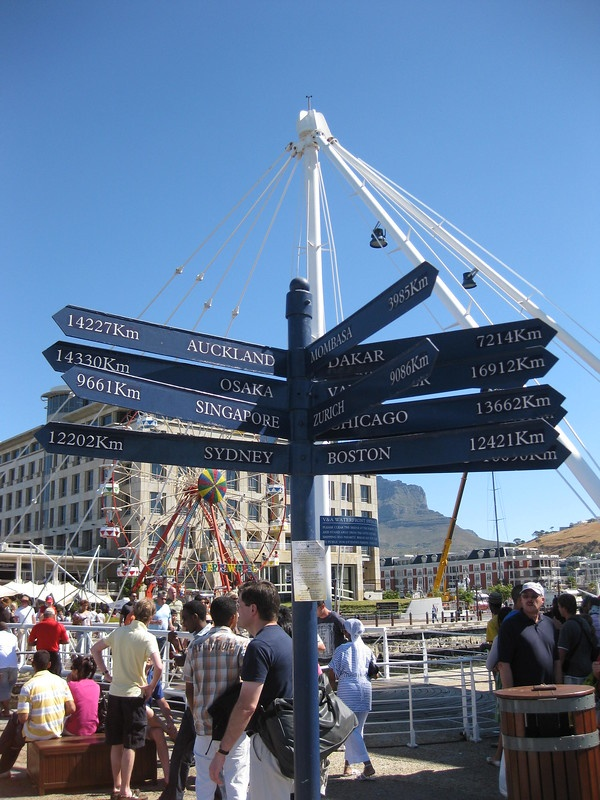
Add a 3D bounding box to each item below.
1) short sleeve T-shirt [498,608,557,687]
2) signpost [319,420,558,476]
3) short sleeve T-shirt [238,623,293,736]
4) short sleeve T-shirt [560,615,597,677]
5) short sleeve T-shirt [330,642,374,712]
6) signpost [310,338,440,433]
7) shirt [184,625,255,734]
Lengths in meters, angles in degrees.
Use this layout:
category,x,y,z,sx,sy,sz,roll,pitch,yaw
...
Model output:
category,x,y,z,sx,sy,sz,roll,pitch,yaw
short sleeve T-shirt,1.812,1.995,5.589,0.435,0.571,0.398,-3,-15,14
signpost,0.684,0.278,3.733,1.429,0.267,0.220,-8,-6,40
short sleeve T-shirt,-0.179,1.510,3.707,0.290,0.553,0.278,4,-15,-12
short sleeve T-shirt,2.648,2.389,6.640,0.436,0.450,0.198,12,-15,-23
short sleeve T-shirt,0.551,3.058,7.560,0.659,0.734,0.352,15,-28,-29
signpost,0.414,-0.062,3.657,0.587,0.140,0.027,-34,-35,32
shirt,-0.507,1.733,4.278,0.482,0.648,0.217,1,-1,17
